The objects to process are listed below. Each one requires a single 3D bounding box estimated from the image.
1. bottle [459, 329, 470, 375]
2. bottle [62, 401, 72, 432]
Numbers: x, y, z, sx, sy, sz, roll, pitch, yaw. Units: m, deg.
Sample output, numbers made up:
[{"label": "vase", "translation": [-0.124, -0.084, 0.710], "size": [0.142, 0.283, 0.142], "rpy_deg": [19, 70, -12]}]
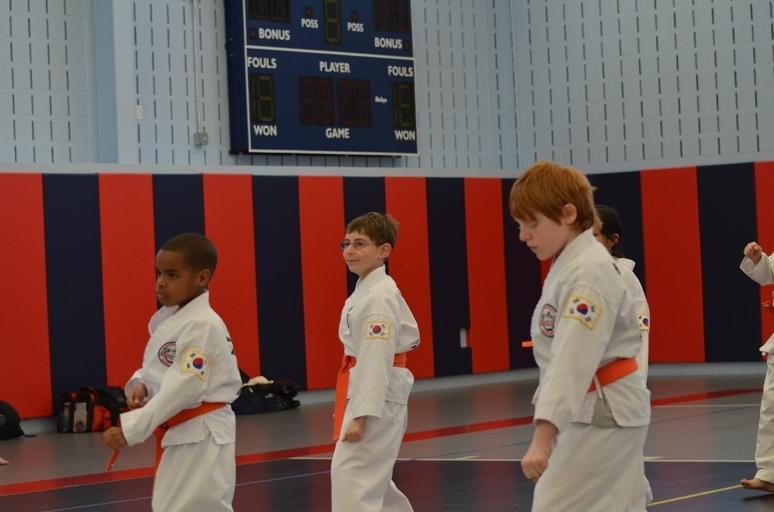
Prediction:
[{"label": "bottle", "translation": [1.198, 1.411, 15.108], "size": [0.218, 0.688, 0.096], "rpy_deg": [-6, 6, -37]}, {"label": "bottle", "translation": [-4.154, 2.055, 12.783], "size": [0.209, 0.370, 0.088], "rpy_deg": [1, 5, 32]}]
